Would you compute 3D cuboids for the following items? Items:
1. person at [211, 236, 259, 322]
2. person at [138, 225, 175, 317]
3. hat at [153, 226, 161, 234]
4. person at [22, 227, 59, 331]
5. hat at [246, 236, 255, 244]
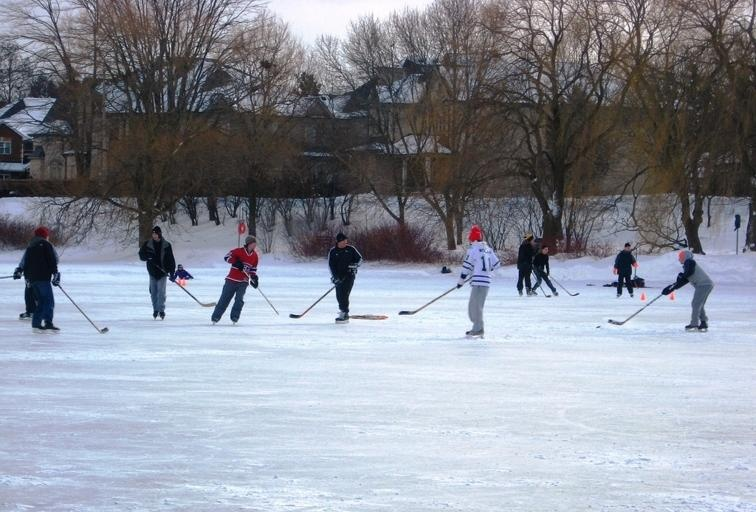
[{"bbox_3d":[-3.748,0.642,33.083,1.337,2.271,0.908,0,0,0],"label":"person"},{"bbox_3d":[-5.919,0.493,33.169,1.176,2.455,0.872,5,7,25],"label":"person"},{"bbox_3d":[-5.968,-0.671,33.228,0.185,0.182,0.241,1,14,-13],"label":"hat"},{"bbox_3d":[-8.368,0.608,30.910,0.897,2.601,0.866,4,-3,29],"label":"person"},{"bbox_3d":[-3.378,-0.389,32.411,0.219,0.162,0.196,-13,0,14],"label":"hat"}]
